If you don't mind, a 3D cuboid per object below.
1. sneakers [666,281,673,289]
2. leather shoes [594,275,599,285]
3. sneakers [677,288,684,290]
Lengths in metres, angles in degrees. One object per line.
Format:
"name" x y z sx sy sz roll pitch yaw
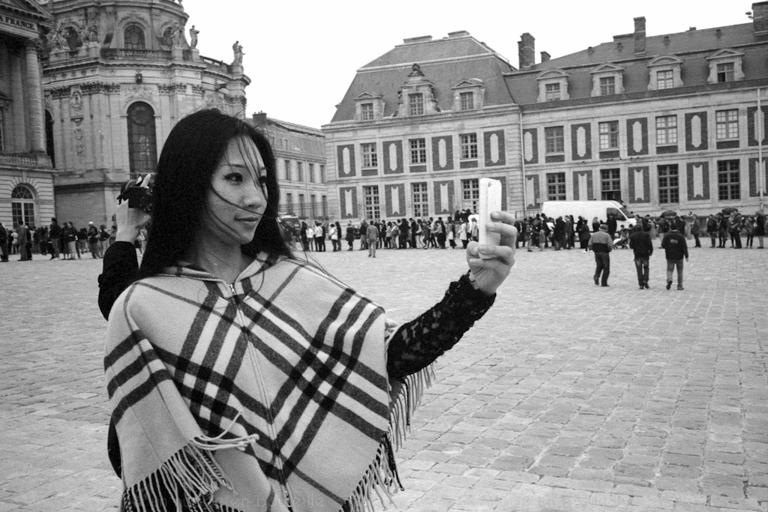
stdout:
"sneakers" 6.461 0.637 18.476 0.129 0.233 0.100 5 28 22
"leather shoes" 5.131 0.566 19.704 0.087 0.246 0.166 -6 20 5
"sneakers" 6.656 0.700 18.324 0.124 0.050 0.247 1 4 14
